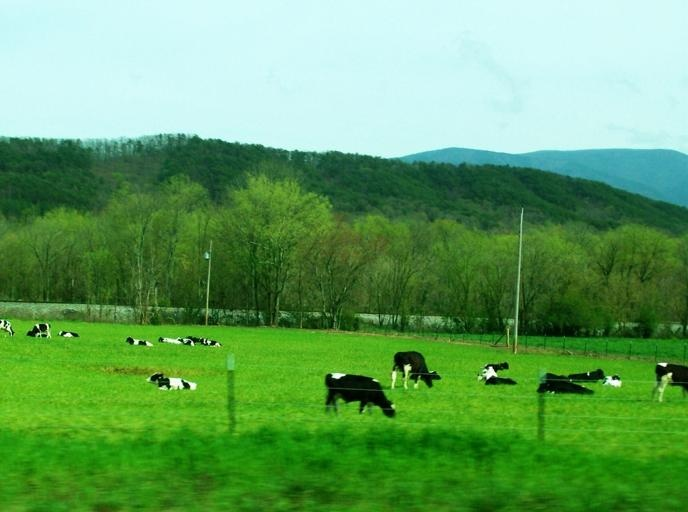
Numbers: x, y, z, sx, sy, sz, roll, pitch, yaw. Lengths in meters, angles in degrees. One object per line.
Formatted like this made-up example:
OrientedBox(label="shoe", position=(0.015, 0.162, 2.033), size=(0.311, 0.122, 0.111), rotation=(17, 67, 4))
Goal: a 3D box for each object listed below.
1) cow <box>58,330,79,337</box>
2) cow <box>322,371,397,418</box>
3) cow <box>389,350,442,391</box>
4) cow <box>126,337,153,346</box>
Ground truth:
OrientedBox(label="cow", position=(-28.244, 8.037, 119.958), size=(1.954, 0.629, 2.757), rotation=(1, -2, -15))
OrientedBox(label="cow", position=(1.072, 11.819, 100.584), size=(5.100, 3.846, 5.195), rotation=(-8, 0, -19))
OrientedBox(label="cow", position=(6.295, 10.173, 105.110), size=(4.214, 3.222, 2.779), rotation=(0, -1, -2))
OrientedBox(label="cow", position=(-20.377, 8.560, 116.740), size=(2.577, 0.860, 2.450), rotation=(1, -2, -13))
